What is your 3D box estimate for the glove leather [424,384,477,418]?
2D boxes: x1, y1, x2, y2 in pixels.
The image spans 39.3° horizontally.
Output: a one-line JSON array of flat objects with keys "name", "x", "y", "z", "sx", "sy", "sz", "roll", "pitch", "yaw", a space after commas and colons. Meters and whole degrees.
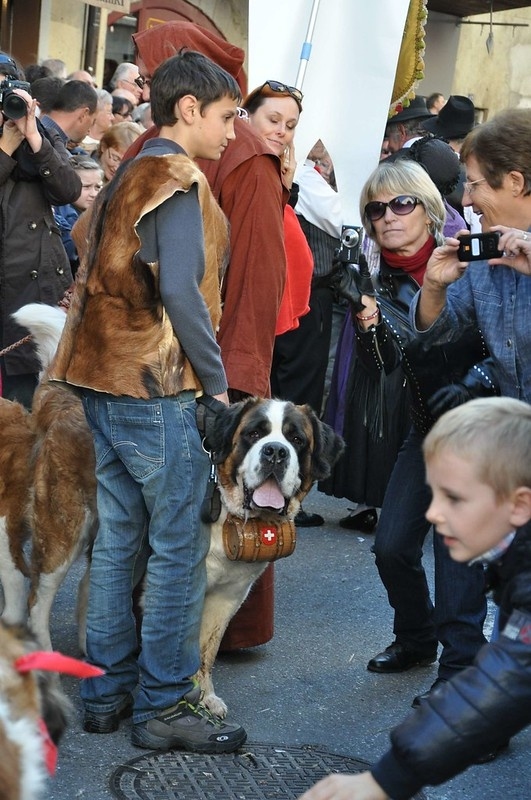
[{"name": "glove leather", "x": 0.781, "y": 0.022, "z": 3.154, "sx": 0.220, "sy": 0.178, "sz": 0.160, "roll": -4, "pitch": -4, "yaw": 14}]

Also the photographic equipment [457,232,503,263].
[{"name": "photographic equipment", "x": 0.777, "y": -0.555, "z": 2.693, "sx": 0.165, "sy": 0.080, "sz": 0.100, "roll": 8, "pitch": 5, "yaw": 14}]

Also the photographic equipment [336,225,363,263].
[{"name": "photographic equipment", "x": 0.419, "y": -0.766, "z": 3.660, "sx": 0.111, "sy": 0.205, "sz": 0.224, "roll": 9, "pitch": 5, "yaw": 3}]

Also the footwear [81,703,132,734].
[{"name": "footwear", "x": -0.638, "y": 1.271, "z": 3.041, "sx": 0.083, "sy": 0.095, "sz": 0.227, "roll": 8, "pitch": 14, "yaw": 28}]

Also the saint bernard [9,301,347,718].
[{"name": "saint bernard", "x": -0.589, "y": 0.632, "z": 3.794, "sx": 0.599, "sy": 1.473, "sz": 2.072, "roll": 5, "pitch": 4, "yaw": -45}]
